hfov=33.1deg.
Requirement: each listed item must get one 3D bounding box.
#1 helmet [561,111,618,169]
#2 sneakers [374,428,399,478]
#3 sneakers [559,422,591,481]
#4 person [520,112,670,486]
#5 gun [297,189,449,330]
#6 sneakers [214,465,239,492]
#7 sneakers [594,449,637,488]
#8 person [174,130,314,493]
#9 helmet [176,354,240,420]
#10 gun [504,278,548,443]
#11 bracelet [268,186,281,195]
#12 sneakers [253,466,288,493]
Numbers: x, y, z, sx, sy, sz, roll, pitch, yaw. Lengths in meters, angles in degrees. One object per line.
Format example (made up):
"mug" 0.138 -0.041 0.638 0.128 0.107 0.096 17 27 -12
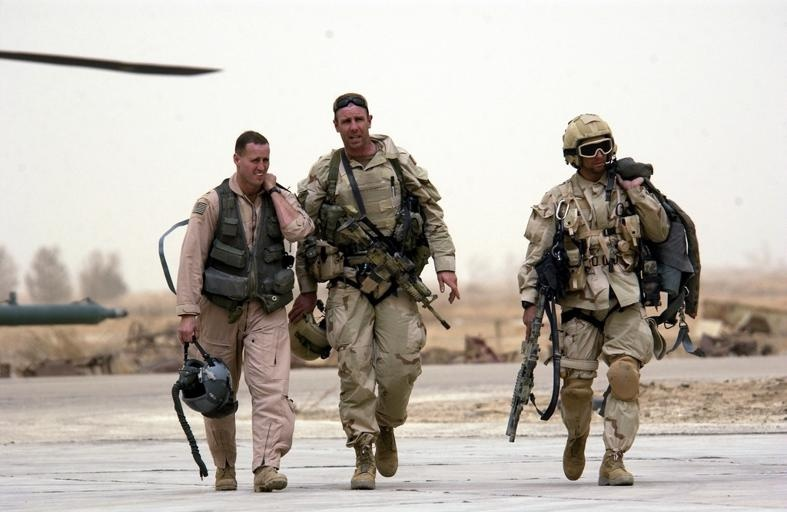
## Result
"helmet" 1.565 -0.934 10.772 0.409 0.406 0.412 -13 7 -16
"sneakers" -0.065 1.601 10.752 0.138 0.460 0.172 -4 -3 0
"sneakers" 1.452 1.603 10.648 0.185 0.398 0.290 1 3 6
"person" 1.600 0.345 10.528 1.131 2.917 0.680 1 3 13
"gun" -0.089 0.188 10.822 1.641 0.754 0.247 30 -23 -22
"sneakers" -1.323 1.744 10.404 0.161 0.166 0.149 0 3 -8
"sneakers" 1.710 1.648 10.204 0.263 0.256 0.241 1 3 10
"person" -1.163 0.411 10.406 1.008 2.735 0.687 0 3 0
"helmet" -1.414 1.040 10.359 0.360 0.428 0.452 2 3 27
"gun" 1.413 1.142 14.148 0.235 1.764 0.417 13 7 -9
"bracelet" -0.943 -0.510 10.519 0.078 0.060 0.088 -3 -5 1
"sneakers" -0.977 1.723 10.152 0.123 0.186 0.318 10 -20 -41
